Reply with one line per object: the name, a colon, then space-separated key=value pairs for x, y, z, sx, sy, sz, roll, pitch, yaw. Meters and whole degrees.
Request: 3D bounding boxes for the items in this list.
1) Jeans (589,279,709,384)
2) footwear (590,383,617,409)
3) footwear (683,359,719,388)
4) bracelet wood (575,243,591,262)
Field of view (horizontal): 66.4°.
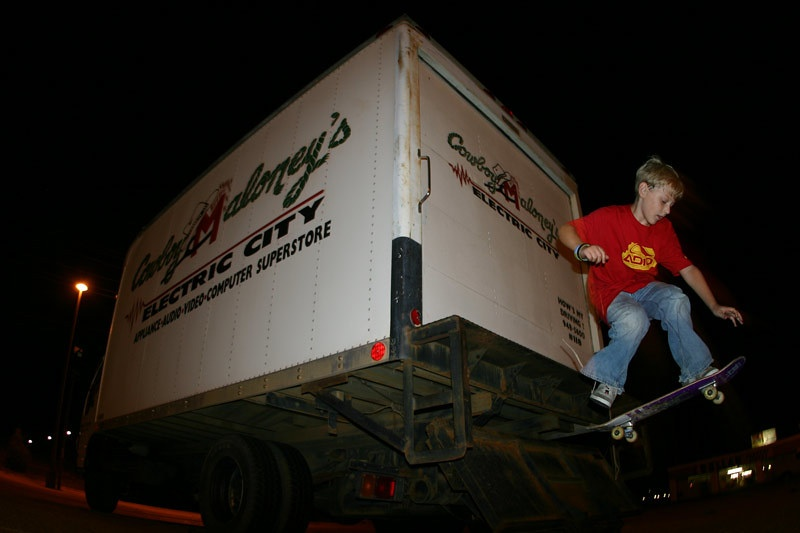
Jeans: x=3.596 y=0.974 z=8.960 sx=1.565 sy=1.758 sz=0.988 roll=4 pitch=-35 yaw=-2
footwear: x=2.759 y=1.722 z=8.266 sx=0.370 sy=0.342 sz=0.239 roll=-15 pitch=-31 yaw=18
footwear: x=4.042 y=1.509 z=8.283 sx=0.542 sy=0.237 sz=0.240 roll=-29 pitch=-10 yaw=27
bracelet wood: x=2.446 y=-0.185 z=8.228 sx=0.088 sy=0.231 sz=0.190 roll=5 pitch=-22 yaw=48
